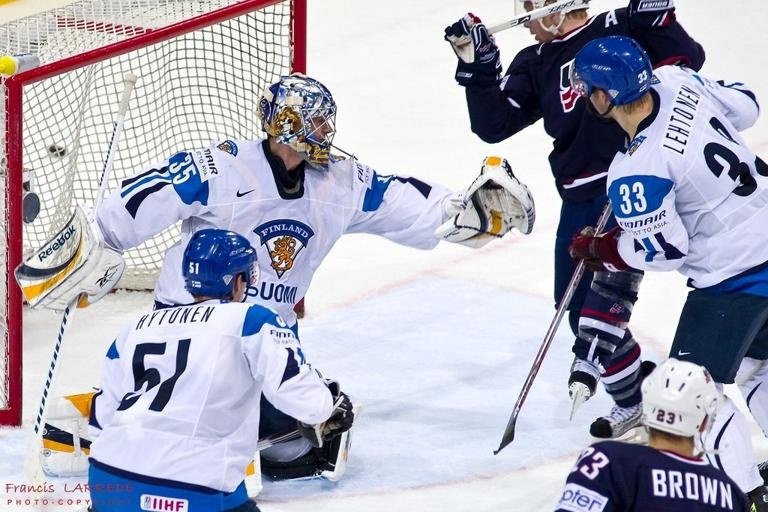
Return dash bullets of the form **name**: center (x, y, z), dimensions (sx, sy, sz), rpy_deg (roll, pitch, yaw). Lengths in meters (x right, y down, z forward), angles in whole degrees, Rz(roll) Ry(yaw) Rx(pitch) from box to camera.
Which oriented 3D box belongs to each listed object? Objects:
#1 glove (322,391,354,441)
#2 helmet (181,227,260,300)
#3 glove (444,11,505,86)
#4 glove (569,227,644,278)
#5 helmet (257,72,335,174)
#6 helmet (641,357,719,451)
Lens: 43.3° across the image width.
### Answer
- **glove**: center (-0.183, 0.690, 4.145), dimensions (0.097, 0.189, 0.140), rpy_deg (21, -26, 13)
- **helmet**: center (-0.666, 0.013, 3.947), dimensions (0.257, 0.259, 0.337), rpy_deg (6, 16, 17)
- **glove**: center (0.452, -0.989, 4.726), dimensions (0.270, 0.350, 0.166), rpy_deg (5, 35, 45)
- **glove**: center (1.053, -0.016, 4.404), dimensions (0.345, 0.135, 0.348), rpy_deg (13, 1, 2)
- **helmet**: center (-0.357, -0.561, 4.361), dimensions (0.373, 0.378, 0.312), rpy_deg (-1, -15, 37)
- **helmet**: center (0.983, 0.468, 3.195), dimensions (0.236, 0.293, 0.277), rpy_deg (6, 10, 24)
